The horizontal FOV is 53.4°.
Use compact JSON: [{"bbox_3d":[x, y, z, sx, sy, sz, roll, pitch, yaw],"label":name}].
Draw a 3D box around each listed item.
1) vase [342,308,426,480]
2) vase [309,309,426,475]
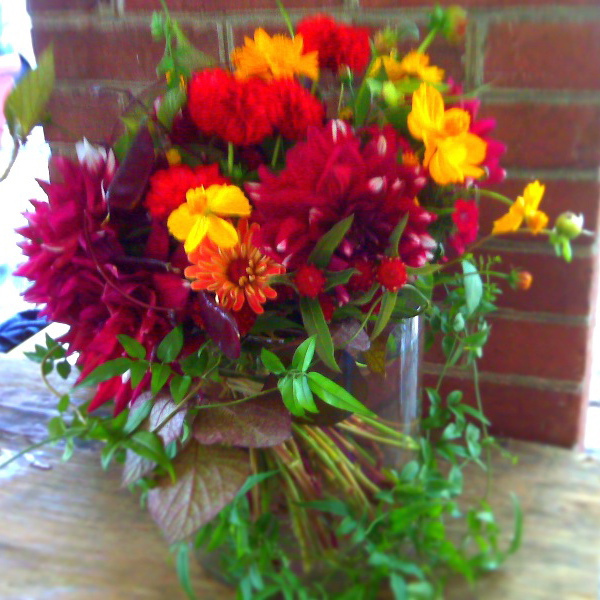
[{"bbox_3d":[0.075,0.093,0.547,0.079,0.158,0.088,-1,2,29],"label":"vase"},{"bbox_3d":[0.050,0.072,0.475,0.086,0.165,0.097,-5,21,-8],"label":"vase"}]
